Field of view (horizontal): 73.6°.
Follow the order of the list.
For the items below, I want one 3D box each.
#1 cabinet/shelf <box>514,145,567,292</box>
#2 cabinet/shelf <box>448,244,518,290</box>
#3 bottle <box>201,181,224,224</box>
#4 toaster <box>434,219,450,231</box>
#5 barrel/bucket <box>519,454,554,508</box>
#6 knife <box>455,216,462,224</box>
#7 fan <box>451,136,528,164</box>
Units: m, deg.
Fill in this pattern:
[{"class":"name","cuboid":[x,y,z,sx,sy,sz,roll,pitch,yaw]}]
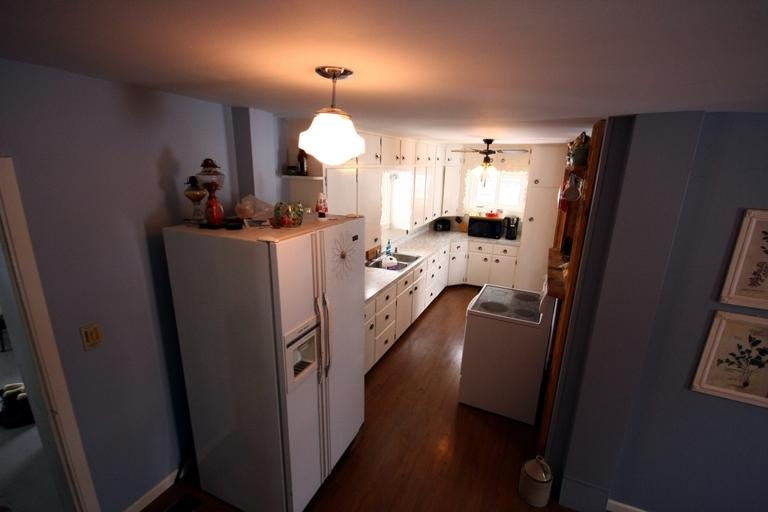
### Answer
[{"class":"cabinet/shelf","cuboid":[2.076,-0.474,6.899,0.574,2.014,0.339,7,15,26]},{"class":"cabinet/shelf","cuboid":[1.485,0.138,7.731,0.988,0.738,0.395,4,13,14]},{"class":"bottle","cuboid":[-1.249,-0.382,3.761,0.126,0.302,0.254,-4,14,-18]},{"class":"toaster","cuboid":[0.959,-0.525,8.399,0.282,0.256,0.197,4,27,8]},{"class":"barrel/bucket","cuboid":[1.214,1.803,4.066,0.280,0.425,0.258,-1,22,0]},{"class":"knife","cuboid":[1.225,-0.590,8.440,0.082,0.116,0.031,5,8,31]},{"class":"fan","cuboid":[1.464,-1.448,7.101,0.711,0.266,0.719,5,8,38]}]
